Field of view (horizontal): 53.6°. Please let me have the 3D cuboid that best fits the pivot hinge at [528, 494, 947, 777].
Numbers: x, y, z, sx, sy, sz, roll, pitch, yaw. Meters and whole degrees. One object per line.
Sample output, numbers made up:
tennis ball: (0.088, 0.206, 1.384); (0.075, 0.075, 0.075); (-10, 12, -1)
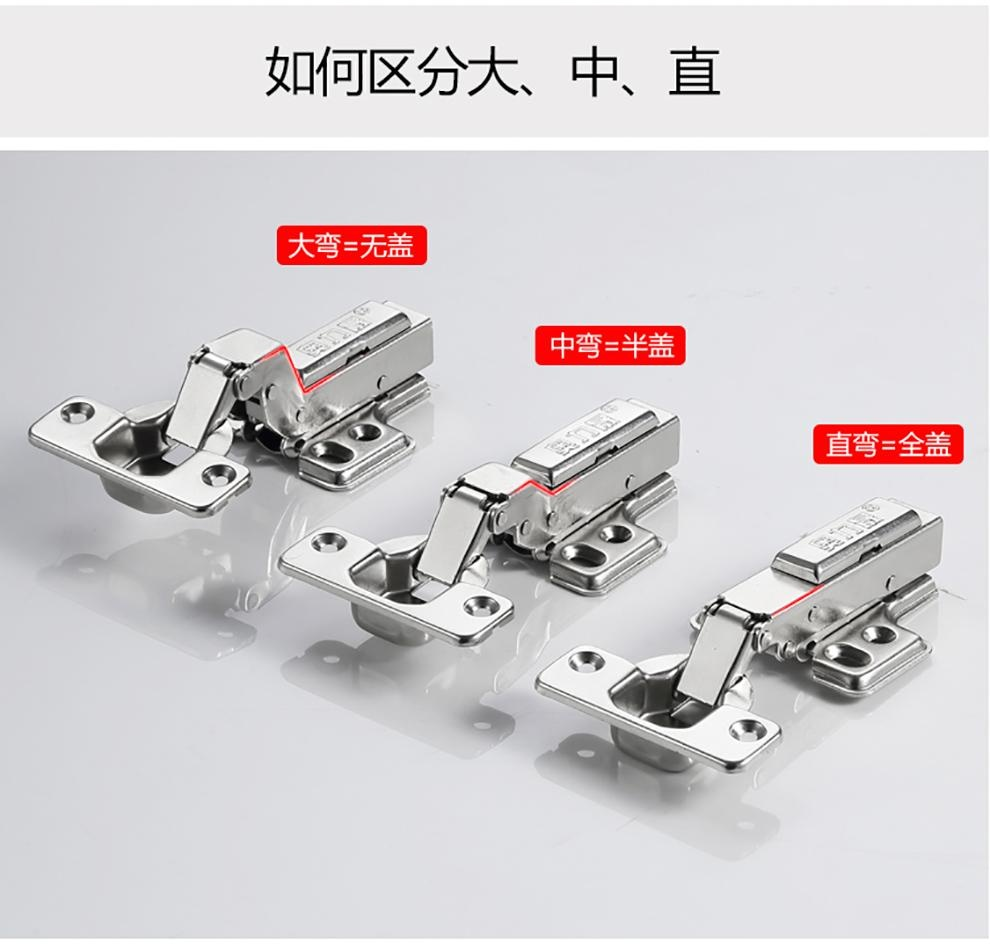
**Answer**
pivot hinge: (0.543, 0.299, 1.901); (0.851, 0.218, 0.418); (-24, 31, -31)
